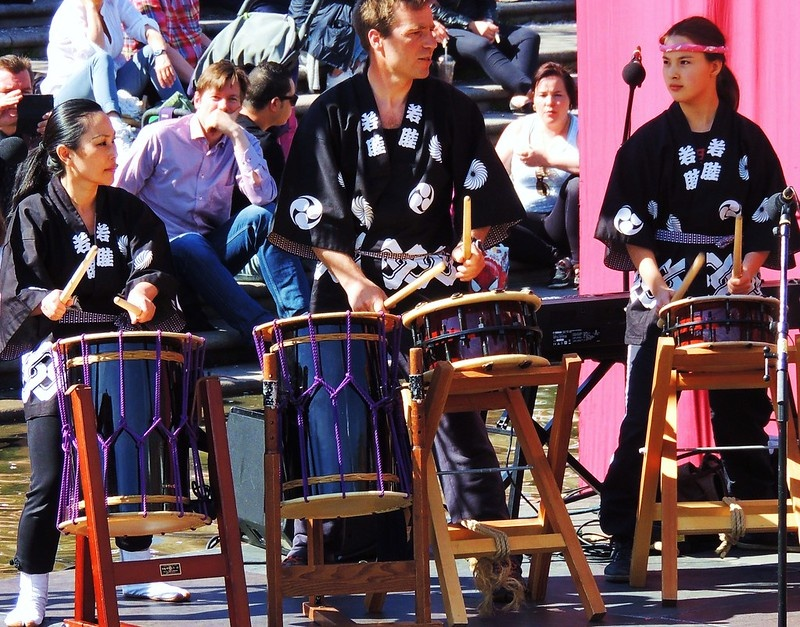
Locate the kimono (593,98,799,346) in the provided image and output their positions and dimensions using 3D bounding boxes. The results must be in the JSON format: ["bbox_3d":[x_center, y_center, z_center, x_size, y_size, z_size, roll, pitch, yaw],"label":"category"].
[{"bbox_3d":[1.060,-0.305,5.447,0.920,1.046,0.440,-1,-7,0],"label":"kimono"}]

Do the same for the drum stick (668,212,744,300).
[{"bbox_3d":[1.067,-0.206,5.397,0.056,0.359,0.050,39,0,0],"label":"drum stick"}]

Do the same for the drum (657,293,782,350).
[{"bbox_3d":[1.072,-0.007,5.244,0.336,0.130,0.341,16,7,-2],"label":"drum"}]

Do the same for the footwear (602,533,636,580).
[{"bbox_3d":[0.771,0.844,5.455,0.125,0.215,0.355,2,-8,8],"label":"footwear"}]

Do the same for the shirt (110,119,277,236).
[{"bbox_3d":[-0.930,-0.611,7.118,0.583,0.493,0.323,12,22,-44],"label":"shirt"}]

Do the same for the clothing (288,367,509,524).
[{"bbox_3d":[-0.118,0.329,4.586,0.302,0.437,0.356,-11,0,-31],"label":"clothing"}]

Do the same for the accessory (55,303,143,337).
[{"bbox_3d":[-0.989,0.021,5.071,0.209,0.125,0.045,4,3,-30],"label":"accessory"}]

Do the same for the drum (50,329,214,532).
[{"bbox_3d":[-0.822,0.361,4.783,0.426,0.526,0.430,-4,-4,1],"label":"drum"}]

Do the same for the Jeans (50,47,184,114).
[{"bbox_3d":[-1.513,-1.263,8.445,0.825,0.357,0.798,2,9,4],"label":"Jeans"}]

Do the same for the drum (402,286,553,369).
[{"bbox_3d":[0.229,0.073,5.073,0.468,0.257,0.470,-8,-9,-1],"label":"drum"}]

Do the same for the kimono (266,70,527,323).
[{"bbox_3d":[-0.008,-0.416,5.314,0.887,0.759,0.399,-1,6,-13],"label":"kimono"}]

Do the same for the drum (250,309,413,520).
[{"bbox_3d":[-0.120,0.274,4.921,0.483,0.551,0.482,-8,-3,-23],"label":"drum"}]
